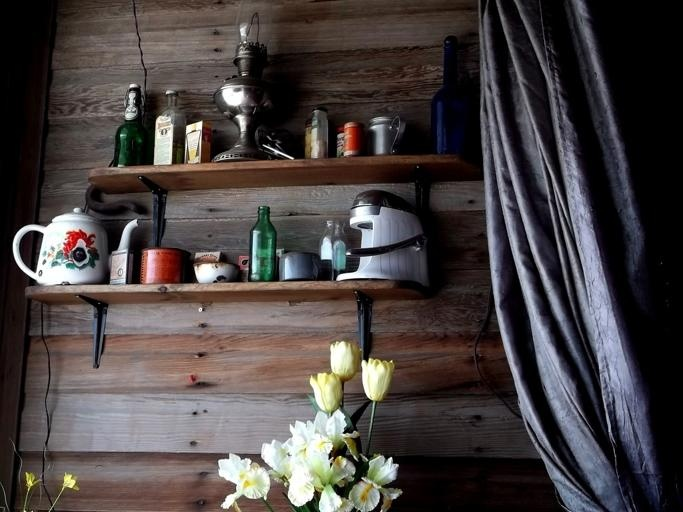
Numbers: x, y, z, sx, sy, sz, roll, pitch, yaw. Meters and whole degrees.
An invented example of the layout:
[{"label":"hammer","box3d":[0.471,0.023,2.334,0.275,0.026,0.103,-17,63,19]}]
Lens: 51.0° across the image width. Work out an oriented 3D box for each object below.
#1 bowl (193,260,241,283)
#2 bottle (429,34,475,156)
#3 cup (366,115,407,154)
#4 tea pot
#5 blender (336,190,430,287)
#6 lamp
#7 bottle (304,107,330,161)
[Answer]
[{"label":"bowl","box3d":[-0.415,0.048,2.367,0.147,0.071,0.131,1,6,-8]},{"label":"bottle","box3d":[0.376,-0.570,2.445,0.151,0.434,0.312,4,8,8]},{"label":"cup","box3d":[0.162,-0.421,2.401,0.129,0.134,0.192,-6,11,-16]},{"label":"tea pot","box3d":[-0.921,-0.043,2.479,0.428,0.218,0.223,1,-1,-16]},{"label":"blender","box3d":[0.154,-0.067,2.332,0.425,0.301,0.288,2,-9,2]},{"label":"lamp","box3d":[-0.350,-0.638,2.527,0.198,0.592,0.388,2,8,-8]},{"label":"bottle","box3d":[-0.088,-0.447,2.459,0.076,0.183,0.133,2,7,-5]}]
